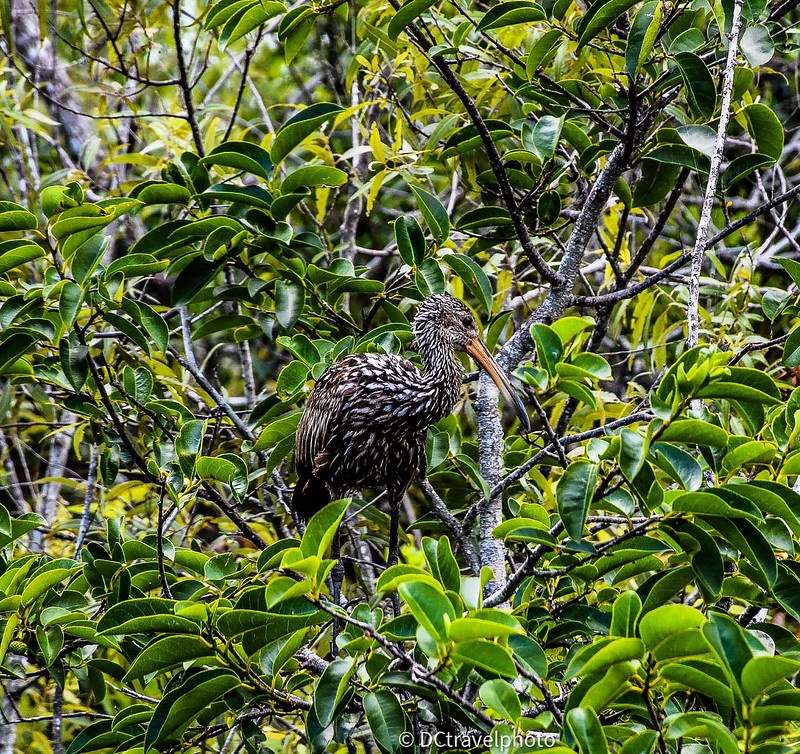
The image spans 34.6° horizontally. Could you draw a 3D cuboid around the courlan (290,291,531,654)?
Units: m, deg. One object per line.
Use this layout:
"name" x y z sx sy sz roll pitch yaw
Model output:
"courlan" 0.204 0.395 6.330 1.206 1.520 1.059 3 9 20
